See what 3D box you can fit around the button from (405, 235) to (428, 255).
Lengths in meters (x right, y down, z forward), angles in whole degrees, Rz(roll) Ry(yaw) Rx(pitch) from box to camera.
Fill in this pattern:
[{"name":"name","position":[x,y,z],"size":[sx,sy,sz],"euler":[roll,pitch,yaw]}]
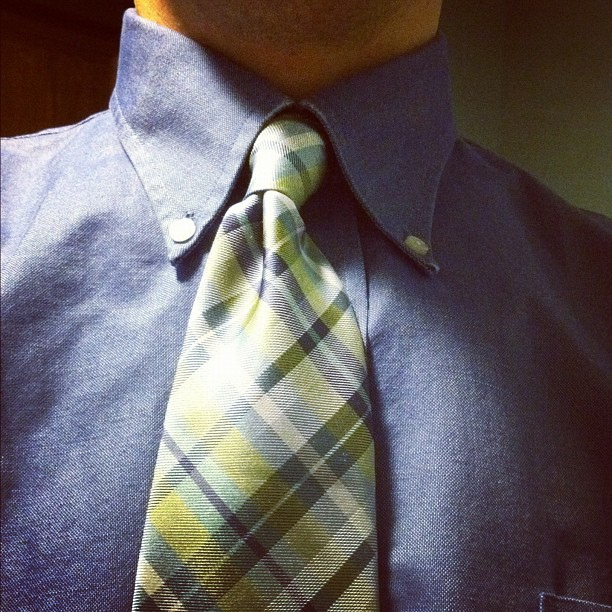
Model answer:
[{"name":"button","position":[0.084,-0.046,0.543],"size":[0.012,0.004,0.016],"euler":[-23,60,-28]}]

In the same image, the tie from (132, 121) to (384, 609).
[{"name":"tie","position":[-0.018,0.018,0.469],"size":[0.138,0.280,0.224],"euler":[7,14,-10]}]
